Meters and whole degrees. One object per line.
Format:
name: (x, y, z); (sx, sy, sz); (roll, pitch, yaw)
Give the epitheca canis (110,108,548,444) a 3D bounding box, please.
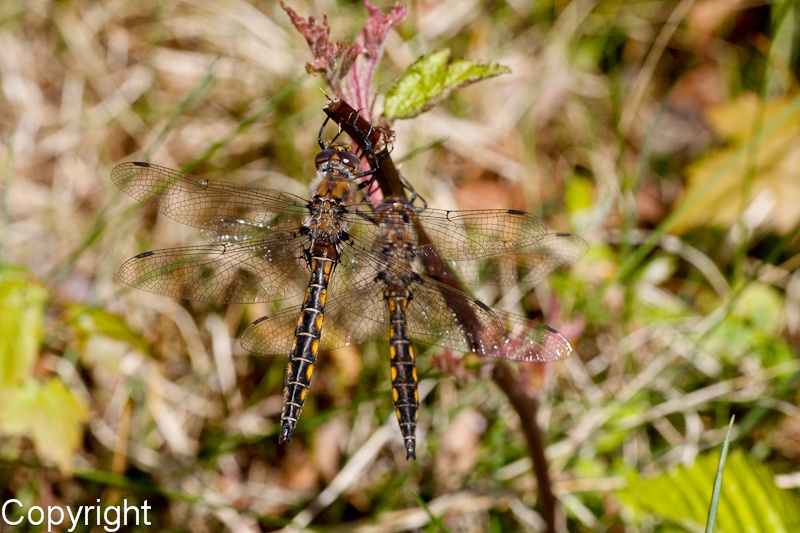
epitheca canis: (-0.408, 0.158, 4.926); (2.575, 1.987, 0.711); (2, -4, 4)
